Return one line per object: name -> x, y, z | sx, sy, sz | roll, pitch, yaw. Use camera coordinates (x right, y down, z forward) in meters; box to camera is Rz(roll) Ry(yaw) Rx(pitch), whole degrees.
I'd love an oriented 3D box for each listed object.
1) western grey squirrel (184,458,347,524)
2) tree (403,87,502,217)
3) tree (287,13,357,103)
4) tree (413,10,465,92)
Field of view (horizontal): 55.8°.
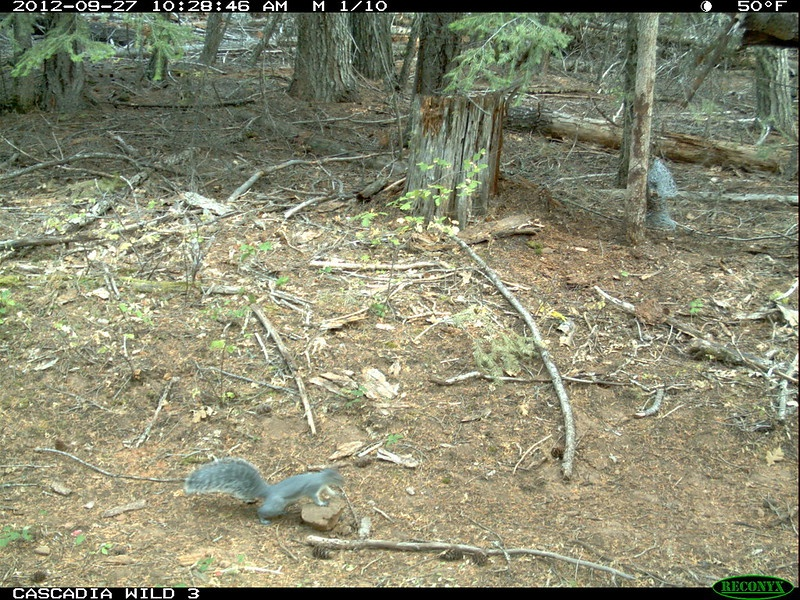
western grey squirrel -> -1.201, 1.651, 6.534 | 1.487, 0.435, 0.338 | 11, -7, -33
tree -> 0.644, -1.686, 8.917 | 1.113, 1.526, 0.727 | 9, 25, 3
tree -> -1.295, -4.261, 13.282 | 1.199, 1.542, 0.700 | 5, 25, -7
tree -> 0.539, -3.422, 10.542 | 0.570, 1.132, 0.615 | 8, 24, -2
